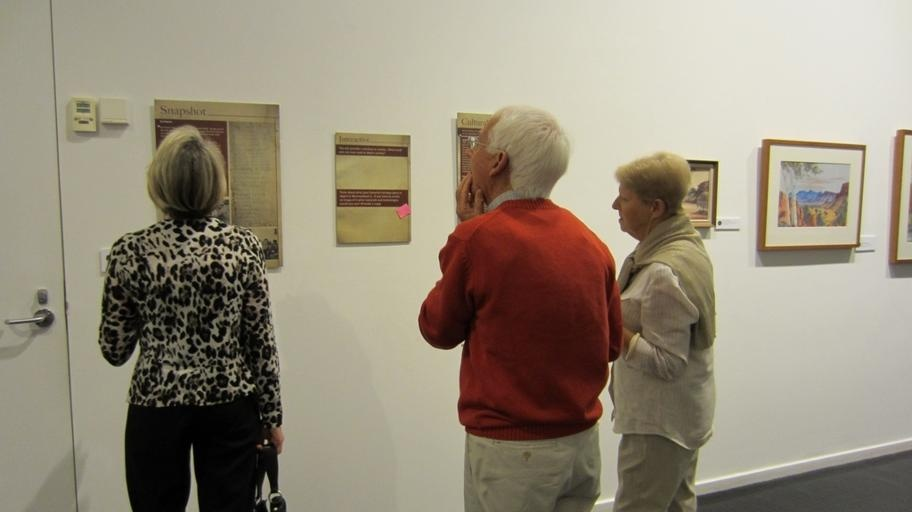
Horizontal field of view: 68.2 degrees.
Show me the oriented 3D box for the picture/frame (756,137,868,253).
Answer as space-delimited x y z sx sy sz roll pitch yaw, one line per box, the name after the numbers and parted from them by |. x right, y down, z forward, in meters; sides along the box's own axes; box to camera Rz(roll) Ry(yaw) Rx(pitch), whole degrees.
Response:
2.994 -0.496 5.663 0.937 0.874 0.039 0 5 -12 | picture/frame
